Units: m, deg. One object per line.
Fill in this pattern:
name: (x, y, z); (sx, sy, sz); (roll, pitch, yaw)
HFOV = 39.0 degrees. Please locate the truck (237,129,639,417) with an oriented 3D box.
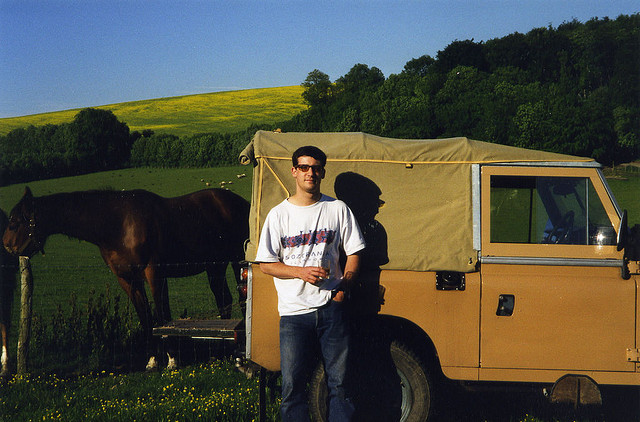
truck: (2.771, 1.076, 23.572); (8.741, 6.094, 5.710); (-2, 2, -3)
